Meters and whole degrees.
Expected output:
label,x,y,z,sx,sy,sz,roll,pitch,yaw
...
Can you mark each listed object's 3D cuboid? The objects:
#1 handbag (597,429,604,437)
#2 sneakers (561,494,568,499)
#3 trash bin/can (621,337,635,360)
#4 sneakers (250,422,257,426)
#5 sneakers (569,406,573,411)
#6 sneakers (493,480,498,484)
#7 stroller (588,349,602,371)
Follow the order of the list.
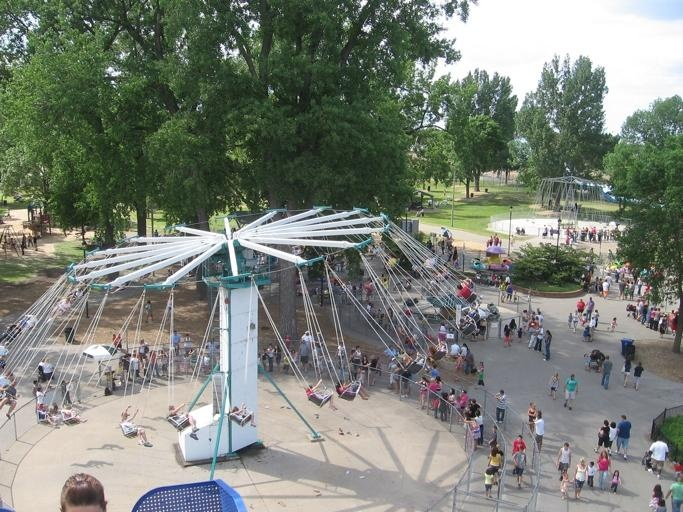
label,x,y,z,sx,sy,sz,roll,pitch,yaw
handbag,14.023,9.499,43.389,0.194,0.428,0.295,7,-11,-25
sneakers,11.283,12.115,40.770,0.217,0.288,0.208,-2,2,-3
trash bin/can,19.148,6.261,54.005,1.010,1.668,1.047,0,8,5
sneakers,-4.617,8.884,42.700,0.260,0.259,0.138,0,5,10
sneakers,13.553,8.990,47.707,0.171,0.229,0.571,-3,-4,11
sneakers,7.827,11.458,40.814,0.202,0.076,0.204,6,4,43
stroller,16.624,6.789,52.603,1.005,1.264,0.512,-3,0,35
